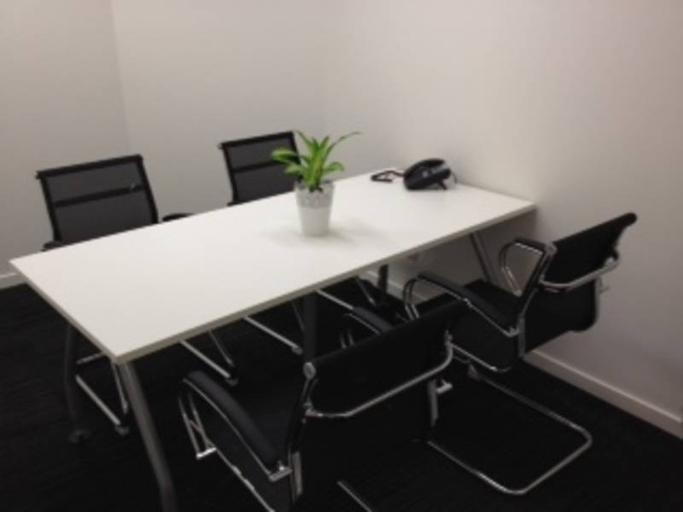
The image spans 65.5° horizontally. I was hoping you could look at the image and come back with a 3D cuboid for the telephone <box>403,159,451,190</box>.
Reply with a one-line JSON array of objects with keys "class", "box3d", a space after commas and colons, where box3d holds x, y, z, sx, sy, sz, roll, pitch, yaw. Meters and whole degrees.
[{"class": "telephone", "box3d": [0.539, -0.499, 3.342, 0.325, 0.159, 0.325, -10, 5, 18]}]
